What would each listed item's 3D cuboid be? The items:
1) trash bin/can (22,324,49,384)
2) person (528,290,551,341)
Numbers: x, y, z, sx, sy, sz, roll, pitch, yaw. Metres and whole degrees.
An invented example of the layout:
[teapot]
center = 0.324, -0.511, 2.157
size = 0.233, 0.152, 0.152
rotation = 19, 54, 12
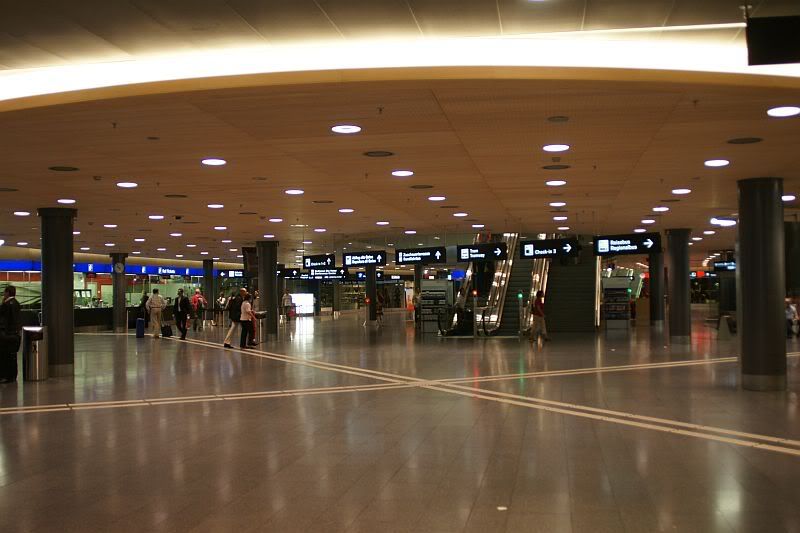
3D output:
[trash bin/can]
center = -8.610, 2.035, 14.524
size = 0.545, 1.248, 0.521
rotation = 1, -3, -31
[person]
center = 5.177, 1.798, 22.797
size = 0.549, 1.864, 1.556
rotation = -1, -3, 12
